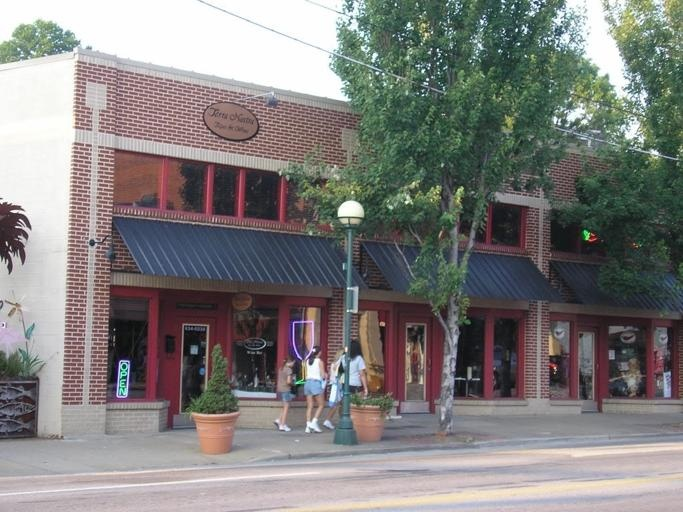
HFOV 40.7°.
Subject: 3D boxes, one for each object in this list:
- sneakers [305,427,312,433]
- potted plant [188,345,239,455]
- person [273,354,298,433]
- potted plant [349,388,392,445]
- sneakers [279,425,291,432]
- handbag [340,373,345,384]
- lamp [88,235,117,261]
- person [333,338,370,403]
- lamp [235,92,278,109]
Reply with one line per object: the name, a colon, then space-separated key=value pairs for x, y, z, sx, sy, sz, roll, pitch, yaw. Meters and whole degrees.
sneakers: x=-0.888 y=4.637 z=24.601 sx=0.185 sy=0.187 sz=0.118 roll=-1 pitch=-3 yaw=16
potted plant: x=-2.911 y=3.373 z=21.727 sx=1.161 sy=2.448 sz=1.183 roll=6 pitch=-3 yaw=-36
person: x=-1.564 y=3.800 z=25.138 sx=0.513 sy=1.959 sz=1.484 roll=-1 pitch=-12 yaw=-4
potted plant: x=0.755 y=4.127 z=23.605 sx=1.075 sy=1.144 sz=1.078 roll=2 pitch=-4 yaw=-4
sneakers: x=-1.520 y=4.637 z=24.870 sx=0.322 sy=0.146 sz=0.135 roll=2 pitch=0 yaw=2
handbag: x=0.042 y=3.270 z=24.616 sx=0.205 sy=0.307 sz=0.081 roll=1 pitch=1 yaw=7
lamp: x=-6.186 y=-0.222 z=23.911 sx=0.805 sy=0.657 sz=0.437 roll=5 pitch=-13 yaw=-29
person: x=0.247 y=3.185 z=24.803 sx=0.790 sy=2.058 sz=0.594 roll=10 pitch=28 yaw=13
lamp: x=-2.287 y=-4.473 z=26.108 sx=1.215 sy=0.403 sz=0.376 roll=4 pitch=-13 yaw=-24
